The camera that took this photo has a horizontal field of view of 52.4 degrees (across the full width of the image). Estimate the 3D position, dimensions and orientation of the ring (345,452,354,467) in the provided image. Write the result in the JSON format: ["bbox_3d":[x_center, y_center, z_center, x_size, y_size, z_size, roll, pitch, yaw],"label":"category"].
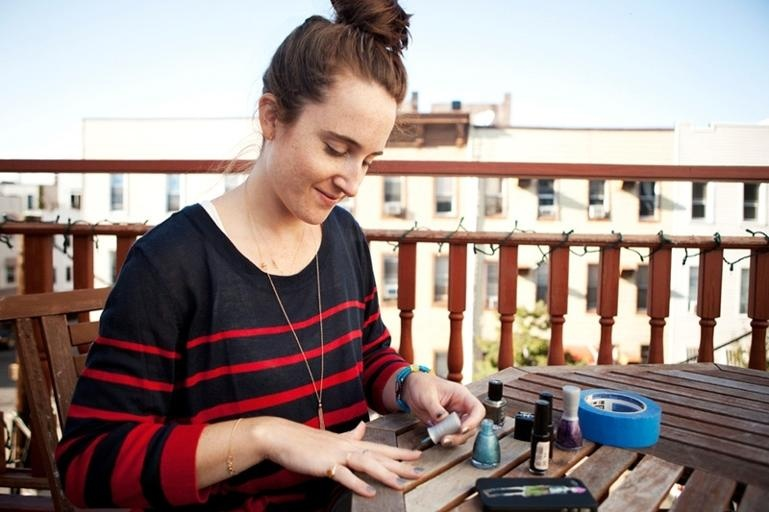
[{"bbox_3d":[-0.146,0.816,3.112,0.036,0.057,0.017,-2,2,3],"label":"ring"}]

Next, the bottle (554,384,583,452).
[{"bbox_3d":[0.761,0.673,3.258,0.107,0.264,0.089,-2,2,12],"label":"bottle"}]

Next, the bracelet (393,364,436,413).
[{"bbox_3d":[0.112,0.594,3.461,0.175,0.193,0.077,14,-15,-8],"label":"bracelet"}]

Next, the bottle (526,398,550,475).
[{"bbox_3d":[0.623,0.731,3.147,0.096,0.293,0.050,-3,2,-9],"label":"bottle"}]

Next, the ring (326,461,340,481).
[{"bbox_3d":[-0.207,0.853,3.078,0.025,0.054,0.040,7,9,25],"label":"ring"}]
